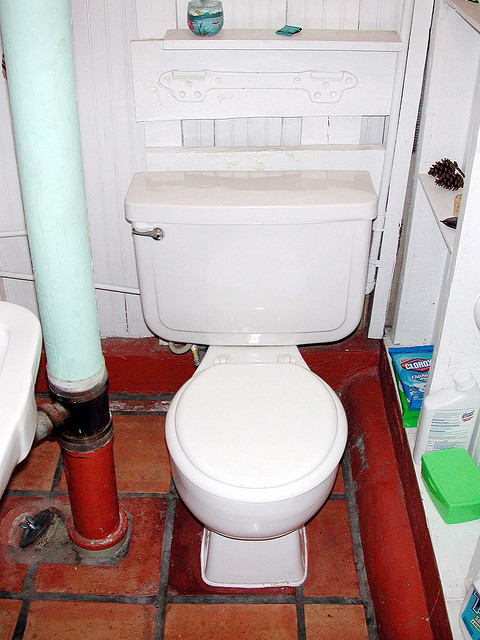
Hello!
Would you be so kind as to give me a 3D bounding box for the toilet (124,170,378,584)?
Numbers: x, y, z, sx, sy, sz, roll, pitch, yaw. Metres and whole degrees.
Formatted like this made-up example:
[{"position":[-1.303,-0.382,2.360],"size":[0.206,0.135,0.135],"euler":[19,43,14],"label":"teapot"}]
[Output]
[{"position":[0.025,0.151,1.073],"size":[0.502,0.775,0.638],"euler":[0,31,1],"label":"toilet"}]
